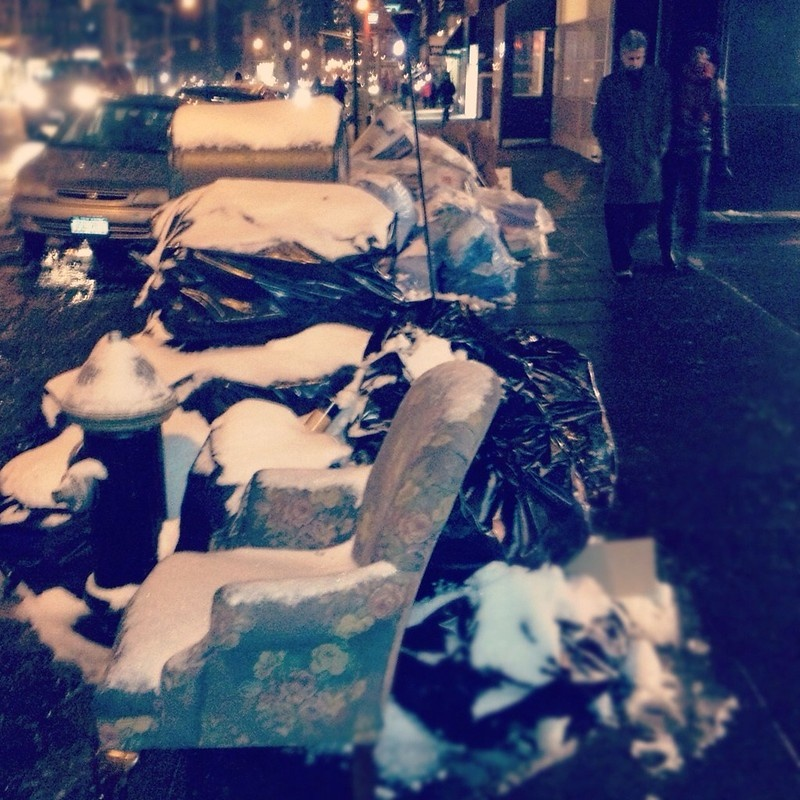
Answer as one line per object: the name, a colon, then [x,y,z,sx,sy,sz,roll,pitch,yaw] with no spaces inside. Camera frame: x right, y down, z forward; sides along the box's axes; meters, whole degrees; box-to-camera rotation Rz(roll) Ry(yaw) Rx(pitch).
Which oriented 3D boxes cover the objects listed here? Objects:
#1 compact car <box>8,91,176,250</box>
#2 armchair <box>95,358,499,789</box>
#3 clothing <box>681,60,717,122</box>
compact car: [-2.957,-2.115,8.082,1.532,1.544,1.639,-12,24,-33]
armchair: [-0.240,0.316,2.490,1.105,1.378,0.949,3,11,-3]
clothing: [2.408,-2.484,6.684,0.266,0.507,0.126,5,7,-6]
